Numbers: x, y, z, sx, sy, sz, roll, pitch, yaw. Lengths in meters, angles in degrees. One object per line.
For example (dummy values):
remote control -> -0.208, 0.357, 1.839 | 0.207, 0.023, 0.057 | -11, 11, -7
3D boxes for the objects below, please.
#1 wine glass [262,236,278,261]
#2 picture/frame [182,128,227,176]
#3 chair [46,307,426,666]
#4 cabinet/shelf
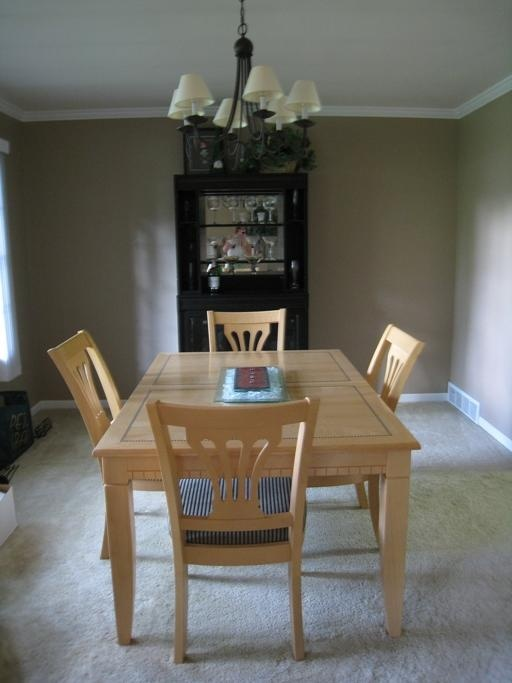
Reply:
wine glass -> 0.091, -0.668, 3.880 | 0.130, 0.176, 0.143 | -2, 6, -5
picture/frame -> -0.367, -1.259, 3.846 | 0.241, 0.340, 0.287 | 0, -16, -2
chair -> -0.051, 0.405, 2.212 | 1.334, 0.891, 1.434 | 1, 10, 10
cabinet/shelf -> -0.088, -0.385, 3.879 | 0.873, 1.454, 0.360 | -2, -7, 0
